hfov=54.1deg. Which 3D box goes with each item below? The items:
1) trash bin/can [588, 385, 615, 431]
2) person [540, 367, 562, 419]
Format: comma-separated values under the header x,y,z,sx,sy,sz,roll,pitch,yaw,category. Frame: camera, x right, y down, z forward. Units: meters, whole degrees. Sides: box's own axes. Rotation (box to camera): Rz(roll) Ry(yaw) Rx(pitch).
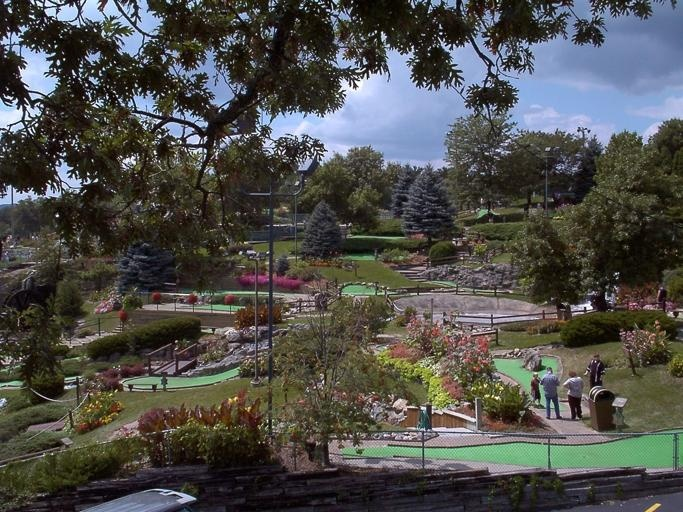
x,y,z,sx,sy,sz,roll,pitch,yaw,category
8.943,5.213,22.740,0.780,1.396,0.776,1,-3,16,trash bin/can
7.670,4.951,24.290,0.671,1.796,1.167,1,-3,18,person
